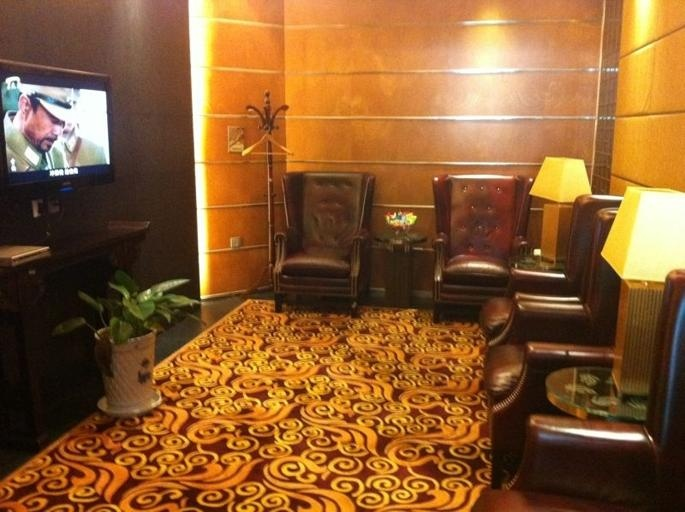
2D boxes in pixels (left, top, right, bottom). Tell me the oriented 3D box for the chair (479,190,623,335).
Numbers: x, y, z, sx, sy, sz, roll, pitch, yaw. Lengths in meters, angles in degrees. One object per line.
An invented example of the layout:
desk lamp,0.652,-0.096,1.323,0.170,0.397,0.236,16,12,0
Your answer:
chair,1.432,0.143,3.853,0.894,1.032,0.724,0,18,4

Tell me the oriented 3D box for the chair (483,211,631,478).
chair,1.304,0.517,3.345,0.959,1.468,1.103,-6,8,5

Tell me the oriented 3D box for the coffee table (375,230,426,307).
coffee table,0.615,0.112,6.015,0.513,0.798,0.639,1,15,5

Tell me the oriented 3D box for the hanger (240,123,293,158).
hanger,-0.809,-1.256,6.151,0.621,0.273,0.248,-7,16,-26

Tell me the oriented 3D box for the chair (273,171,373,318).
chair,-0.182,-0.193,5.846,0.966,1.315,0.971,2,11,8

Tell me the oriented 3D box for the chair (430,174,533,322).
chair,1.380,-0.096,5.631,1.029,1.401,1.007,4,9,21

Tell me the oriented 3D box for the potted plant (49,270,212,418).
potted plant,-1.494,0.539,3.985,0.961,0.819,0.976,5,9,15

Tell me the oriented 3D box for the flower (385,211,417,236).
flower,0.651,-0.369,5.968,0.287,0.198,0.291,5,11,23
